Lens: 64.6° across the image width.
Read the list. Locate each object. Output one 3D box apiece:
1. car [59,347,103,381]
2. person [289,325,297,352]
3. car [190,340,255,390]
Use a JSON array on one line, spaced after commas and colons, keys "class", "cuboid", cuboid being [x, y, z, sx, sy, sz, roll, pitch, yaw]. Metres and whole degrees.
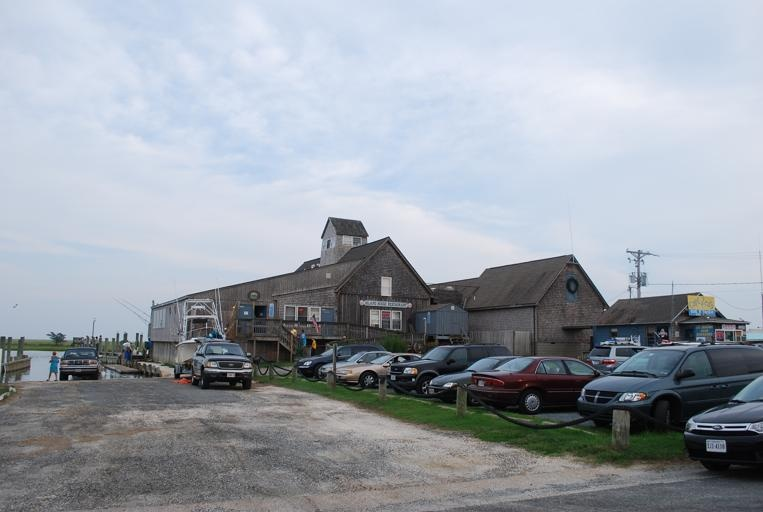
[{"class": "car", "cuboid": [-20.269, 6.966, 41.160, 2.692, 1.713, 4.462, 2, 0, -13]}, {"class": "person", "cuboid": [-6.364, 6.087, 43.771, 0.598, 1.568, 1.403, 1, -3, -8]}, {"class": "car", "cuboid": [-7.606, 4.866, 28.664, 2.358, 1.653, 4.563, 4, -3, -25]}]
